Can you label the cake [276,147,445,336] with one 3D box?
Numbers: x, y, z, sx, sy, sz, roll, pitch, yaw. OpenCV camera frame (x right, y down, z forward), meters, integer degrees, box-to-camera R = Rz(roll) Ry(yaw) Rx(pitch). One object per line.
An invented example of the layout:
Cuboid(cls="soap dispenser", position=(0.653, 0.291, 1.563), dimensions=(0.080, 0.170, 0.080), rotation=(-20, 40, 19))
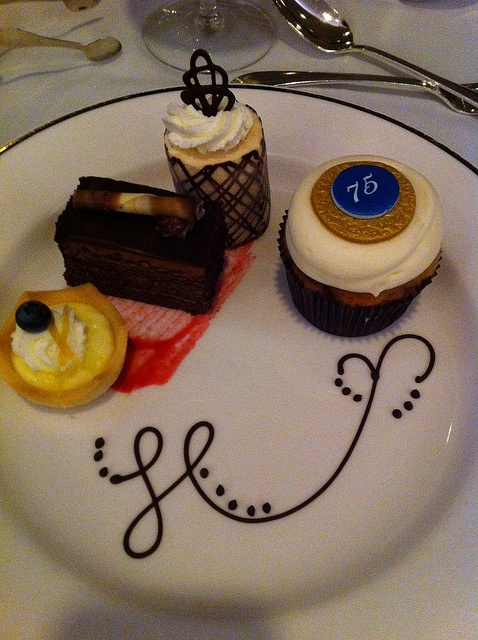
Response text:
Cuboid(cls="cake", position=(0.496, -0.320, 2.580), dimensions=(0.666, 0.569, 0.622), rotation=(8, 63, 18))
